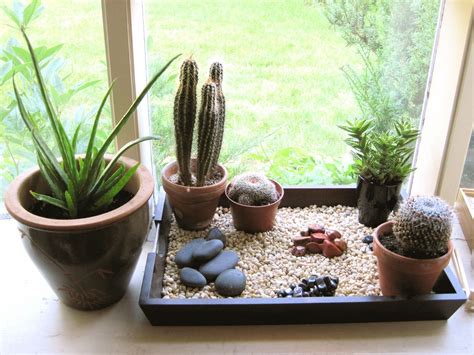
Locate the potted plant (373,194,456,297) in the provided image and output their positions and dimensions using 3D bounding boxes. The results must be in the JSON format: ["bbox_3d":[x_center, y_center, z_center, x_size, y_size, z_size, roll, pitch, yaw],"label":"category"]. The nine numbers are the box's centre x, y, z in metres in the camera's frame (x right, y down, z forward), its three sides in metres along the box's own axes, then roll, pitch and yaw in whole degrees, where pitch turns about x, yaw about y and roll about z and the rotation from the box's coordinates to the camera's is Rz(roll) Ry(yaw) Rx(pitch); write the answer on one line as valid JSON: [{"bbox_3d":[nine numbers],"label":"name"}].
[{"bbox_3d":[0.595,0.247,1.359,0.253,0.328,0.221,0,33,-1],"label":"potted plant"}]

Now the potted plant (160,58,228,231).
[{"bbox_3d":[-0.171,-0.126,1.603,0.264,0.684,0.277,9,25,9],"label":"potted plant"}]

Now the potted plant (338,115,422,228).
[{"bbox_3d":[0.610,-0.025,1.672,0.361,0.441,0.279,4,24,5],"label":"potted plant"}]

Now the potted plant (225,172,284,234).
[{"bbox_3d":[0.074,0.116,1.725,0.251,0.225,0.272,-2,21,10],"label":"potted plant"}]

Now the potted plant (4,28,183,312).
[{"bbox_3d":[-0.496,-0.021,1.325,0.426,0.846,0.504,19,37,26],"label":"potted plant"}]
